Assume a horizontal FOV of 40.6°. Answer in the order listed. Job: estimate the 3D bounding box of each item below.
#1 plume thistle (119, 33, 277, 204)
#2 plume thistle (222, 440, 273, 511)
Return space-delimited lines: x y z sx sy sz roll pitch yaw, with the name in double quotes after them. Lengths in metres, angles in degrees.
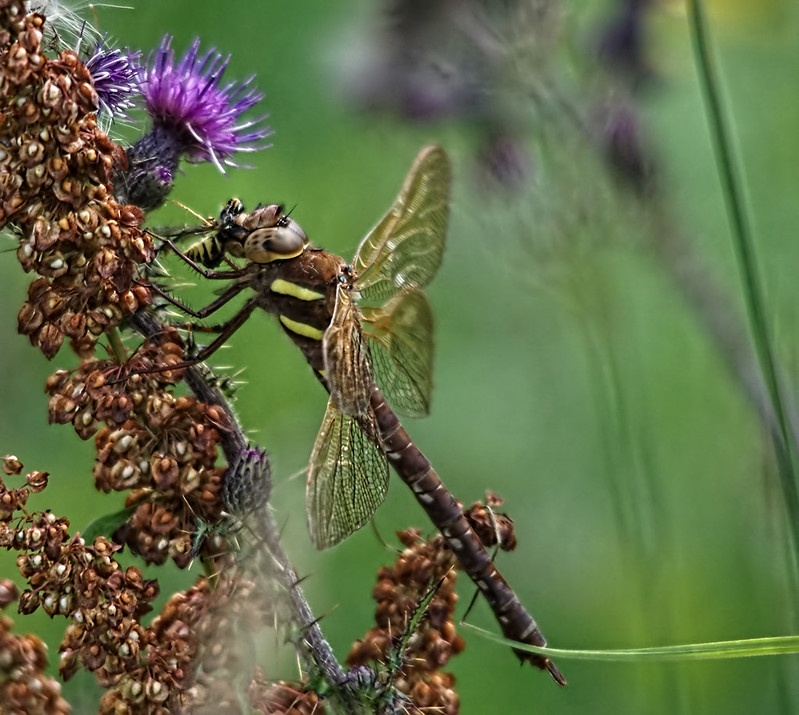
-0.439 -0.463 2.155 0.315 0.258 0.257 -31 -75 12 "plume thistle"
-0.264 0.193 1.815 0.042 0.103 0.068 22 -3 35 "plume thistle"
